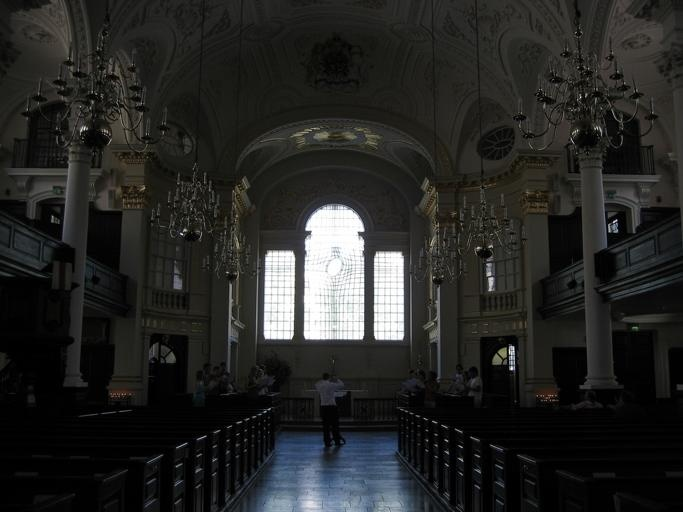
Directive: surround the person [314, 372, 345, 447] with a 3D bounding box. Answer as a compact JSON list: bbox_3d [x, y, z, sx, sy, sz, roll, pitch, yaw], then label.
[{"bbox_3d":[-0.265,3.768,14.568,0.619,1.732,1.543,0,-14,0],"label":"person"}]
